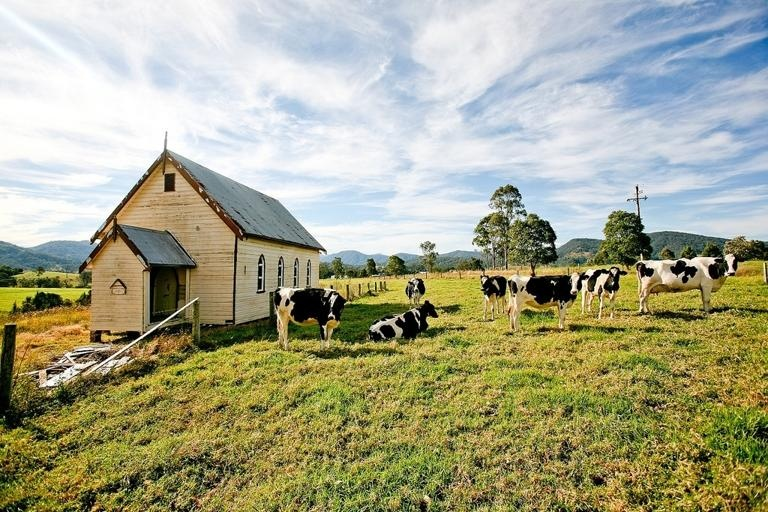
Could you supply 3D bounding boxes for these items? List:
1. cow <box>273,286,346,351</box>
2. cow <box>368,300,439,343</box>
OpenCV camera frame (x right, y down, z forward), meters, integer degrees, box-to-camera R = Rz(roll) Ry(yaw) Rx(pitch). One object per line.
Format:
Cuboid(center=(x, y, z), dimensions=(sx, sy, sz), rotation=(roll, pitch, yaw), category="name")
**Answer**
Cuboid(center=(-2.631, 2.300, 17.374), dimensions=(3.207, 2.278, 1.272), rotation=(-4, -1, 31), category="cow")
Cuboid(center=(0.779, 2.634, 18.285), dimensions=(1.224, 0.920, 3.052), rotation=(3, 9, 40), category="cow")
